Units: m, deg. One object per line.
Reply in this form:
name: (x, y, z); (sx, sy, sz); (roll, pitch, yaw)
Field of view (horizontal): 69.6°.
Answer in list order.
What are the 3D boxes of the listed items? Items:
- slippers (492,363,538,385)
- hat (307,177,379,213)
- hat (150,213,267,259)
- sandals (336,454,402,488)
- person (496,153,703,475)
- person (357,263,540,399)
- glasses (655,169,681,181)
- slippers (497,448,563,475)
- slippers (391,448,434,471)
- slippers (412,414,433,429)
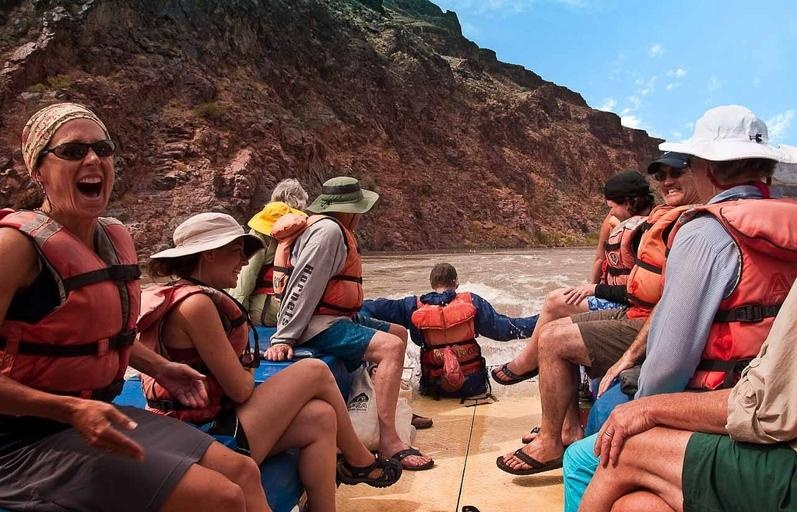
slippers: (0.950, 0.998, 4.721); (0.399, 0.090, 0.197); (-6, 19, 6)
hat: (-0.426, -0.493, 4.676); (0.387, 0.143, 0.416); (4, 22, 40)
hat: (-1.062, -0.155, 3.333); (0.397, 0.145, 0.400); (-14, -8, 0)
sandals: (-0.145, 1.320, 3.569); (0.465, 0.158, 0.254); (-10, 5, 27)
person: (1.270, 0.395, 4.126); (1.422, 2.033, 0.787); (2, -3, -28)
person: (0.490, 0.597, 5.817); (1.809, 0.999, 1.343); (0, 3, 4)
glasses: (2.132, -0.647, 4.507); (0.126, 0.061, 0.218); (6, 9, 42)
slippers: (0.884, 1.380, 3.859); (0.422, 0.098, 0.182); (0, 1, -1)
slippers: (0.102, 1.432, 4.013); (0.301, 0.096, 0.167); (0, -1, 10)
slippers: (0.202, 1.373, 4.755); (0.143, 0.055, 0.093); (-4, 1, 23)
